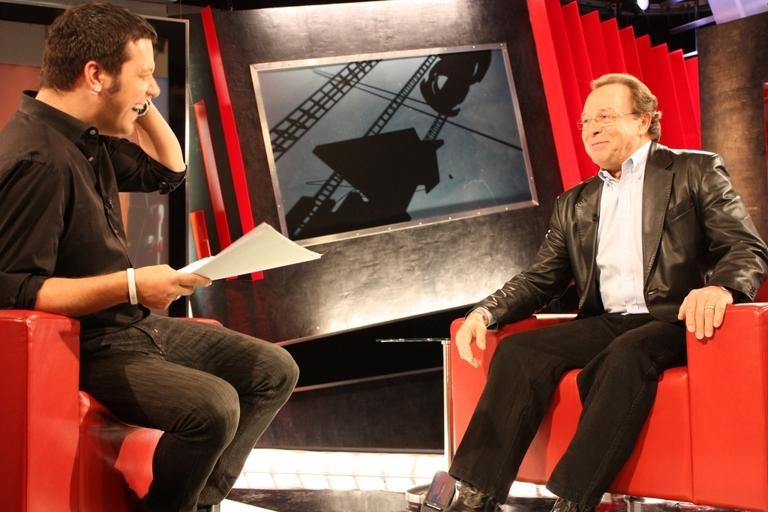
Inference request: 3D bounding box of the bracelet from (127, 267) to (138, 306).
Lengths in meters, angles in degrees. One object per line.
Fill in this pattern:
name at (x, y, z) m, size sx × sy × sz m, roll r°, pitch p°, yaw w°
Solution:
bracelet at (-0.795, 0.093, 2.024) m, size 0.040 × 0.093 × 0.056 m, roll 7°, pitch 2°, yaw -20°
